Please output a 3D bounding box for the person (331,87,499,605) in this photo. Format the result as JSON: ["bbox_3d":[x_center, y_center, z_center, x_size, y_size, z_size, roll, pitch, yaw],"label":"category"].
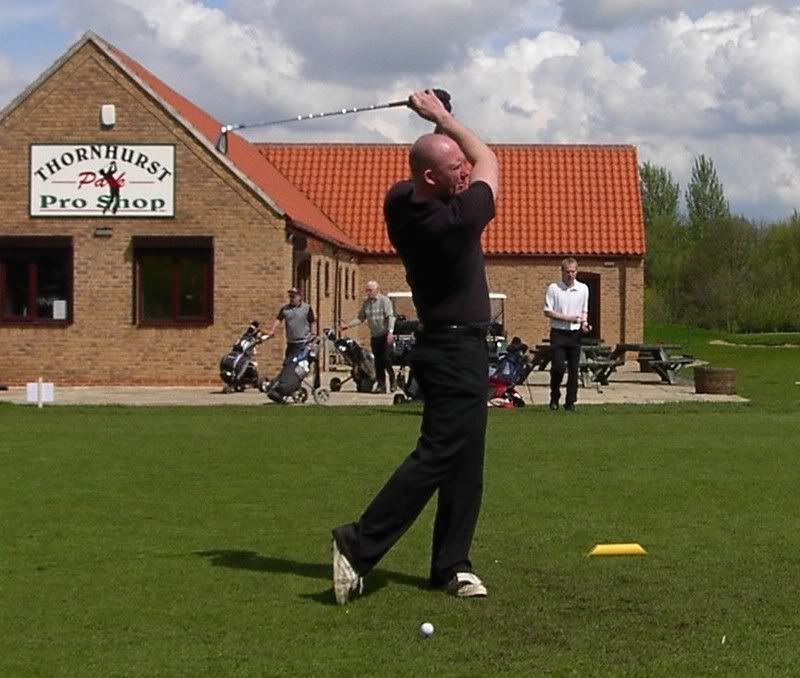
[{"bbox_3d":[0.120,0.003,5.307,0.782,2.696,0.479,0,-2,5],"label":"person"}]

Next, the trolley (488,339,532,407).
[{"bbox_3d":[1.885,0.591,17.116,0.596,0.689,1.113,12,27,16],"label":"trolley"}]

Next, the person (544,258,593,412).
[{"bbox_3d":[2.425,-0.060,14.422,0.591,2.191,1.363,0,-2,10],"label":"person"}]

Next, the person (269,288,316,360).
[{"bbox_3d":[-1.848,-0.304,18.435,0.612,1.293,1.030,2,-3,-33],"label":"person"}]

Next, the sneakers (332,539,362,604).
[{"bbox_3d":[-0.236,1.132,5.175,0.136,0.322,0.124,22,38,38],"label":"sneakers"}]

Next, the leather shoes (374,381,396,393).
[{"bbox_3d":[-0.298,0.980,20.441,0.208,0.263,0.675,0,0,6],"label":"leather shoes"}]

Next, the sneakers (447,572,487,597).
[{"bbox_3d":[0.355,1.280,5.258,0.100,0.083,0.196,1,-6,-19],"label":"sneakers"}]
